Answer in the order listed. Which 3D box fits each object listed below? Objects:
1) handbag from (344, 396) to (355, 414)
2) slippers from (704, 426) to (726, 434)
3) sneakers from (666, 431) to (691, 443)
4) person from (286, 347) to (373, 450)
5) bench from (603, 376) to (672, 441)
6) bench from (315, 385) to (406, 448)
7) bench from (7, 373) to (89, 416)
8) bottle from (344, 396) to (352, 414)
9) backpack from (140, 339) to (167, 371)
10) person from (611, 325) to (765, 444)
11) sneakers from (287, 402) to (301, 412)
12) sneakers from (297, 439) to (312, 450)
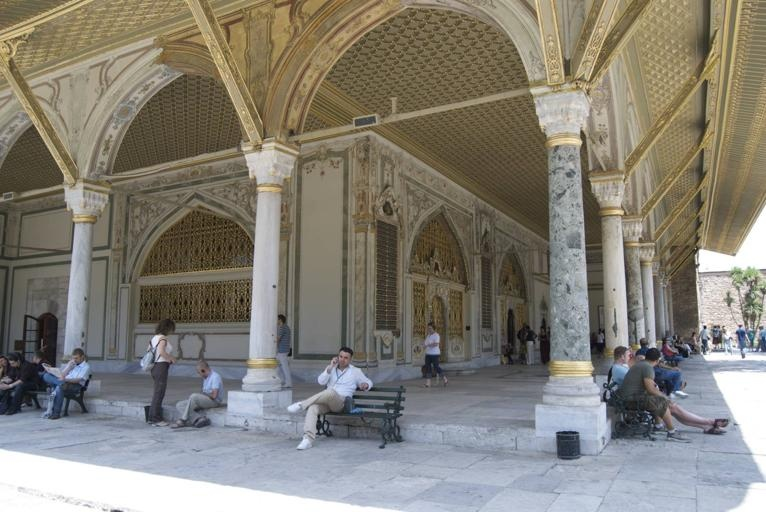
[{"bbox_3d":[-0.510,2.210,8.171,0.214,0.268,0.151,4,-14,-12],"label":"handbag"},{"bbox_3d":[5.020,2.609,8.387,0.276,0.165,0.137,-5,-8,18],"label":"slippers"},{"bbox_3d":[4.334,2.627,8.107,0.315,0.161,0.259,-3,-9,9],"label":"sneakers"},{"bbox_3d":[-0.772,2.094,8.260,1.217,1.340,0.857,3,-6,-33],"label":"person"},{"bbox_3d":[3.765,2.340,8.662,0.576,0.816,0.701,-9,-28,5],"label":"bench"},{"bbox_3d":[-0.434,2.431,8.477,1.418,0.752,0.607,-9,-16,33],"label":"bench"},{"bbox_3d":[-6.262,2.504,10.386,1.295,0.949,0.732,-5,-9,21],"label":"bench"},{"bbox_3d":[-0.525,2.205,8.180,0.135,0.247,0.080,-3,-9,10],"label":"bottle"},{"bbox_3d":[-3.938,1.674,9.417,0.301,0.516,0.290,2,-10,-24],"label":"backpack"},{"bbox_3d":[4.309,2.114,8.636,1.520,1.318,1.006,-4,-9,18],"label":"person"},{"bbox_3d":[-1.326,2.260,8.277,0.204,0.145,0.342,6,-13,-8],"label":"sneakers"},{"bbox_3d":[-1.117,2.695,7.907,0.095,0.105,0.251,-10,-20,22],"label":"sneakers"}]
